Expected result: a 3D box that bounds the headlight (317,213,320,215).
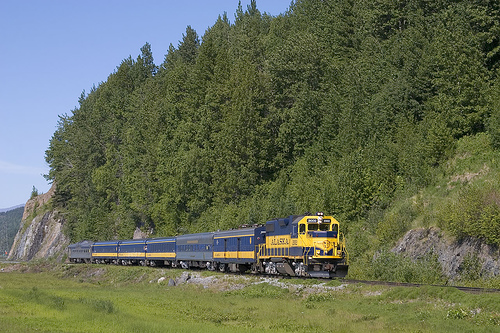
[{"bbox_3d":[7.392,5.107,53.974,0.269,0.209,0.201,0,-17,11],"label":"headlight"}]
